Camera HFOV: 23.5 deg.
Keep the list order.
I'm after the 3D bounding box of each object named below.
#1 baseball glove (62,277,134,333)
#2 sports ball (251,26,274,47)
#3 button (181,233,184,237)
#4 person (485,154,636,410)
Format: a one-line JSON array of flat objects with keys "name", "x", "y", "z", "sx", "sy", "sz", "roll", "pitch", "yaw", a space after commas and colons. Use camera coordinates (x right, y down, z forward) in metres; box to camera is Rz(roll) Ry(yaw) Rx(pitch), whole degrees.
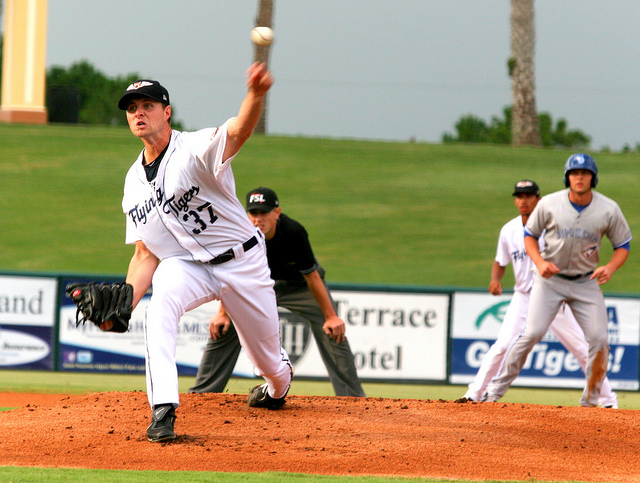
[{"name": "baseball glove", "x": -2.467, "y": 0.747, "z": 17.392, "sx": 0.793, "sy": 0.380, "sz": 0.618, "roll": -9, "pitch": 16, "yaw": 36}, {"name": "sports ball", "x": -0.641, "y": -2.283, "z": 17.419, "sx": 0.215, "sy": 0.205, "sz": 0.217, "roll": 3, "pitch": -2, "yaw": 0}, {"name": "button", "x": -1.519, "y": -0.041, "z": 17.102, "sx": 0.039, "sy": 0.039, "sz": 0.009, "roll": 3, "pitch": 3, "yaw": 10}, {"name": "person", "x": 2.966, "y": 0.503, "z": 18.579, "sx": 1.504, "sy": 3.025, "sz": 0.524, "roll": 0, "pitch": 2, "yaw": 12}]
